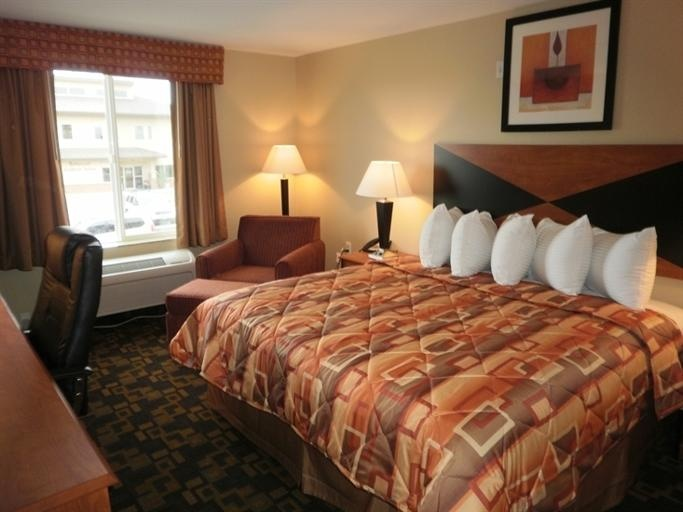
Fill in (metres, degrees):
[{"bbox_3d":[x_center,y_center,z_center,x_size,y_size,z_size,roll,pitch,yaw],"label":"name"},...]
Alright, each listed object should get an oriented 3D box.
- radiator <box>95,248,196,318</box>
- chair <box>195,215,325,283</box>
[{"bbox_3d":[-2.155,0.315,4.903,1.219,0.583,0.393,-12,6,-37],"label":"radiator"},{"bbox_3d":[-0.777,-0.099,4.892,0.993,0.840,0.766,4,11,17],"label":"chair"}]
